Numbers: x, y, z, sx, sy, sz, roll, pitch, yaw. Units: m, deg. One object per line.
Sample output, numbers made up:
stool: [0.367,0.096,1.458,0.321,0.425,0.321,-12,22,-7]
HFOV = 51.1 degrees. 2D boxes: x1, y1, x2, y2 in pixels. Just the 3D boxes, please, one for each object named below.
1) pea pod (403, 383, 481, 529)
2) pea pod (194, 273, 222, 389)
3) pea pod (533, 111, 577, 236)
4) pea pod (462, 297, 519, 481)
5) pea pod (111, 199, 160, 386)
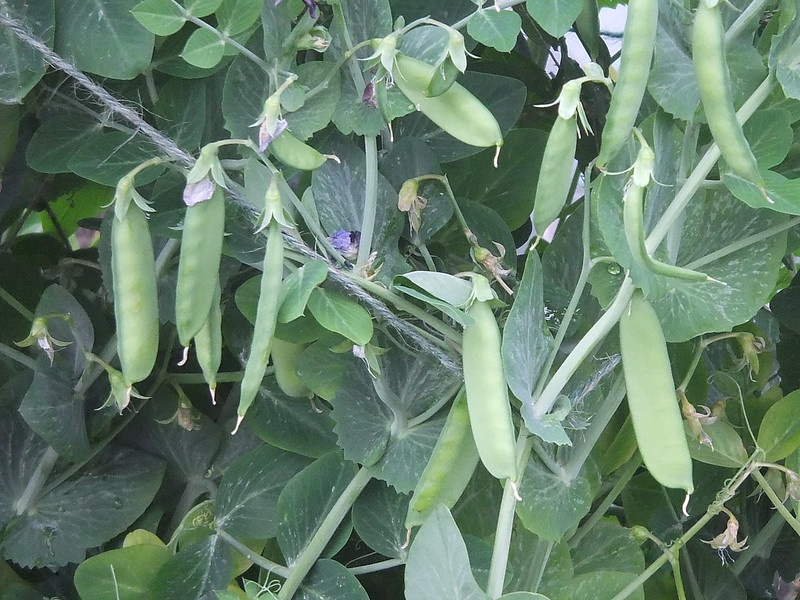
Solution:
pea pod: [0.050,0.164,0.817,0.058,0.047,0.163,52,38,-23]
pea pod: [-0.187,0.034,0.830,0.026,0.024,0.171,3,37,-14]
pea pod: [0.135,-0.110,0.773,0.030,0.123,0.030,14,19,11]
pea pod: [0.078,0.084,0.795,0.037,0.042,0.166,-11,78,23]
pea pod: [-0.251,0.012,0.798,0.040,0.168,0.110,-6,46,-19]
